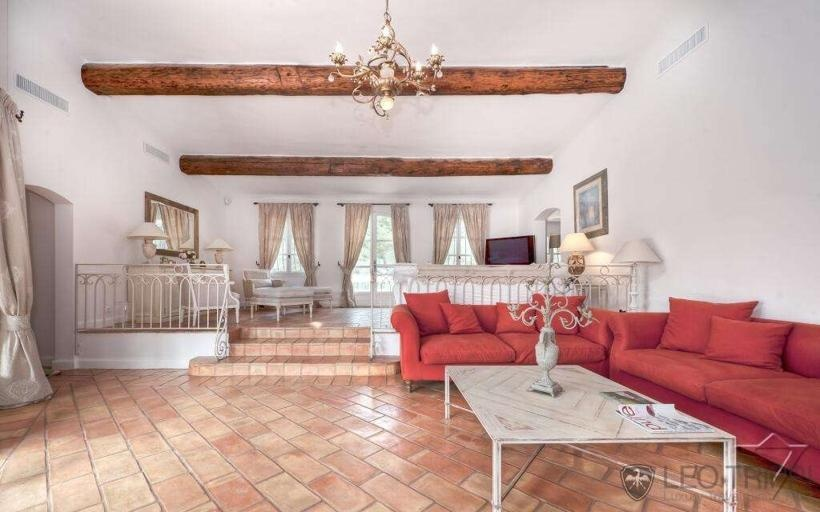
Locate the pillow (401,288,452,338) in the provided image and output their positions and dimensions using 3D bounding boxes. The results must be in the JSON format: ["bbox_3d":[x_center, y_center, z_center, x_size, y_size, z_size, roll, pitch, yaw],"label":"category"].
[{"bbox_3d":[0.219,0.771,6.447,0.720,0.553,0.342,-2,-30,-33],"label":"pillow"}]

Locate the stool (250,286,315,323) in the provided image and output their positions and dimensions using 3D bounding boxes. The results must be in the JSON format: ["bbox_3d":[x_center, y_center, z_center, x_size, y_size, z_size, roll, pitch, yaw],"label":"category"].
[{"bbox_3d":[-2.330,0.753,8.611,0.746,0.447,1.047,15,5,24],"label":"stool"}]

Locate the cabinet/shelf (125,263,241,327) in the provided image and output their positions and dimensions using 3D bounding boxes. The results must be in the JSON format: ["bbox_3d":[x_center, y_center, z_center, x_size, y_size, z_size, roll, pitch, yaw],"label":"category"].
[{"bbox_3d":[-3.584,0.583,7.597,1.409,0.770,1.856,-1,-2,-32],"label":"cabinet/shelf"}]

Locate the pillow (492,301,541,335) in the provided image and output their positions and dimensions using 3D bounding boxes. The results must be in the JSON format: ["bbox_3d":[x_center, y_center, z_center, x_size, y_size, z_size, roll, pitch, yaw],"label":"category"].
[{"bbox_3d":[1.351,0.800,6.135,0.552,0.366,0.231,1,-5,-1],"label":"pillow"}]

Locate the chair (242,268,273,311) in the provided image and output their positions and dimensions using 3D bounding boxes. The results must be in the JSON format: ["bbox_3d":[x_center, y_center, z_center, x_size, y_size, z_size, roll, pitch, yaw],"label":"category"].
[{"bbox_3d":[-2.961,0.659,9.673,0.807,0.722,0.734,3,4,6],"label":"chair"}]

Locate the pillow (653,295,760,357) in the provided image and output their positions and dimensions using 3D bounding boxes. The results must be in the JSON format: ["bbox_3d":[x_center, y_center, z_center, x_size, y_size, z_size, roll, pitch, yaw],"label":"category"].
[{"bbox_3d":[3.353,0.825,5.500,0.876,0.626,0.337,1,4,44],"label":"pillow"}]

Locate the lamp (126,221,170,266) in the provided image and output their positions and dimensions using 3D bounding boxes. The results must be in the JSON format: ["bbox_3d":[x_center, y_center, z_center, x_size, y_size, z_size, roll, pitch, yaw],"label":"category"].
[{"bbox_3d":[-4.181,-0.198,7.801,0.670,0.589,0.637,0,-7,-16],"label":"lamp"}]

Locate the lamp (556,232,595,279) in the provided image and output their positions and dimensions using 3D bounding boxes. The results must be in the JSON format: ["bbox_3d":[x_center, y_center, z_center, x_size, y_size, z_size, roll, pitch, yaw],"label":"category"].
[{"bbox_3d":[2.632,0.041,7.722,0.536,0.567,0.524,-4,-7,37],"label":"lamp"}]

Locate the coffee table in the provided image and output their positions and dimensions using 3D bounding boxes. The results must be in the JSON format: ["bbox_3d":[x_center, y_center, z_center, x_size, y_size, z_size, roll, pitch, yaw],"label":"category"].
[{"bbox_3d":[1.552,1.428,4.527,1.475,0.438,1.969,0,-3,-3],"label":"coffee table"}]

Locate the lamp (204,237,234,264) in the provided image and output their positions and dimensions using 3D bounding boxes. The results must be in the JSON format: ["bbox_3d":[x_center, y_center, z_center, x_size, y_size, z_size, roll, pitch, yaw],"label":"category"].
[{"bbox_3d":[-3.836,-0.096,9.885,0.596,0.487,0.551,-1,-3,1],"label":"lamp"}]

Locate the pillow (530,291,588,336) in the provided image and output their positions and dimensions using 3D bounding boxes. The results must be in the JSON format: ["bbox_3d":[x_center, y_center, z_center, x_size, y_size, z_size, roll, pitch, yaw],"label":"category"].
[{"bbox_3d":[2.012,0.645,6.537,0.768,0.226,0.737,-12,-7,7],"label":"pillow"}]
